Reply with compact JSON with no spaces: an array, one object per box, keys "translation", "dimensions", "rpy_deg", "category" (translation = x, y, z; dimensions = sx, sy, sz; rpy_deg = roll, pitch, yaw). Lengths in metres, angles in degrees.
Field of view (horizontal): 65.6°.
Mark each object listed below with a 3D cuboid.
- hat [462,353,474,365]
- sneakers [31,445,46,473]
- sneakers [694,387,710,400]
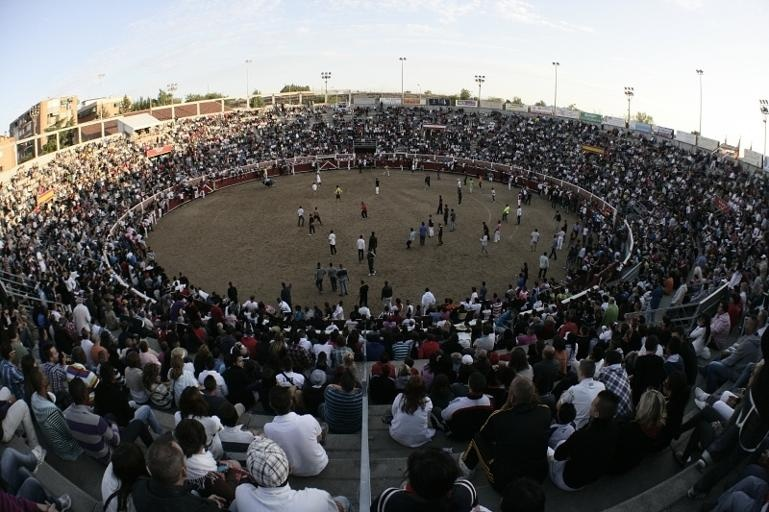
[{"translation":[2.059,2.541,14.680],"dimensions":[0.289,0.144,0.401],"rpy_deg":[-2,6,8],"category":"hat"},{"translation":[-6.929,4.093,11.940],"dimensions":[0.220,0.274,0.695],"rpy_deg":[12,24,-24],"category":"sneakers"},{"translation":[7.504,3.244,14.072],"dimensions":[0.156,0.180,0.472],"rpy_deg":[-25,26,27],"category":"sneakers"}]
